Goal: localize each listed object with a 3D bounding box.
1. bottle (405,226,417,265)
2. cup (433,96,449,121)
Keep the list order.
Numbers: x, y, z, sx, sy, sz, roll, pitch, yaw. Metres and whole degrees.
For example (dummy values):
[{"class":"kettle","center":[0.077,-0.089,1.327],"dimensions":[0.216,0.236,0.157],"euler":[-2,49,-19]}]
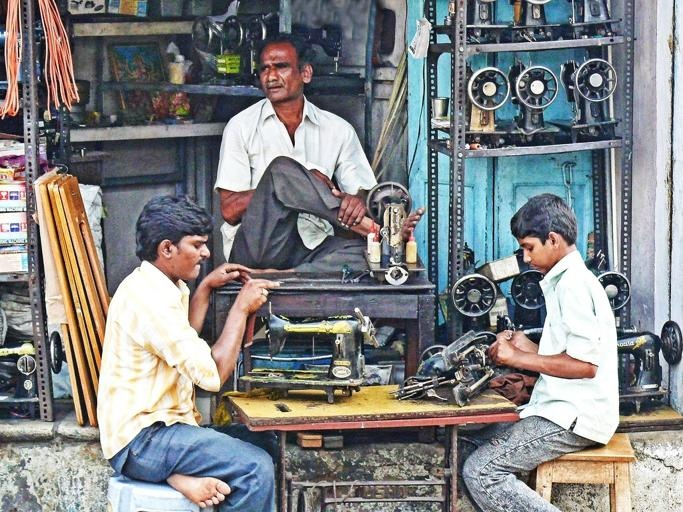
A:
[{"class":"bottle","center":[0.510,-0.055,9.475],"dimensions":[0.076,0.228,0.191],"euler":[-1,2,11]},{"class":"cup","center":[0.751,-1.145,10.117],"dimensions":[0.145,0.170,0.155],"euler":[-1,0,0]}]
